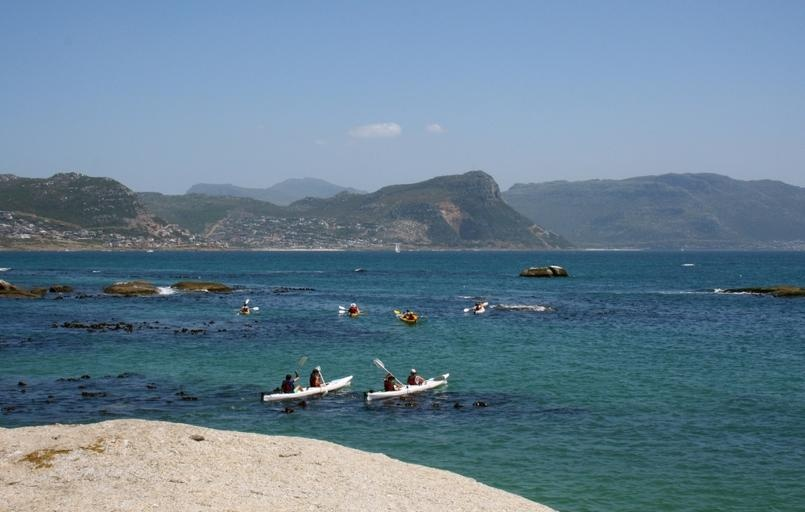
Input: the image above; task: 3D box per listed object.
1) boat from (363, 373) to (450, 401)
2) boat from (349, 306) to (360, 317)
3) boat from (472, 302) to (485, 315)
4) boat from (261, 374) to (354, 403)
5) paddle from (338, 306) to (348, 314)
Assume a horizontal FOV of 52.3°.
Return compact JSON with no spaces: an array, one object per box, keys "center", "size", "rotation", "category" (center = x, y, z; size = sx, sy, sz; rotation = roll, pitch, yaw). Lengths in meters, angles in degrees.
[{"center":[0.383,10.888,67.400],"size":[7.206,2.058,1.513],"rotation":[0,-1,-31],"category":"boat"},{"center":[-6.035,6.732,101.333],"size":[1.265,1.396,2.656],"rotation":[-1,0,-3],"category":"boat"},{"center":[9.692,6.729,104.700],"size":[1.841,0.765,5.828],"rotation":[-1,1,11],"category":"boat"},{"center":[-7.642,10.778,66.853],"size":[7.290,0.559,1.970],"rotation":[-4,11,-28],"category":"boat"},{"center":[-7.616,6.829,103.767],"size":[1.220,0.632,1.042],"rotation":[0,-11,3],"category":"paddle"}]
